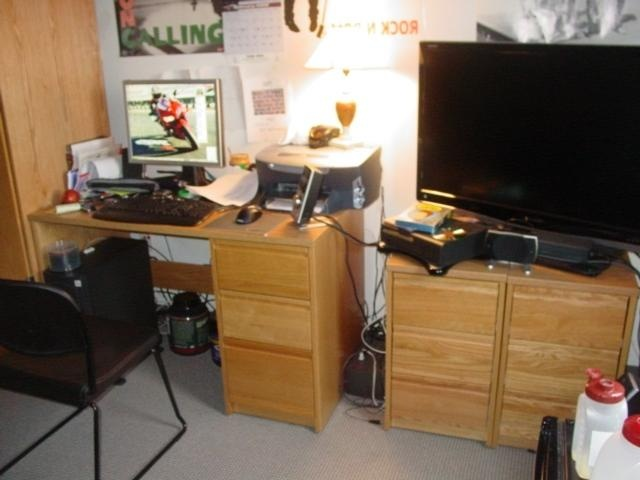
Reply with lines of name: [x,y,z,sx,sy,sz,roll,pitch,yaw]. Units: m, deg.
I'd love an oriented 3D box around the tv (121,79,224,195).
tv: [-0.732,-0.521,2.561,0.640,0.594,0.203,2,15,10]

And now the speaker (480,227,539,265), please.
speaker: [0.741,0.029,1.996,0.200,0.125,0.143,6,10,20]

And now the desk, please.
desk: [-0.462,0.422,2.743,1.970,1.121,0.969,4,14,17]

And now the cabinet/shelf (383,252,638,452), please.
cabinet/shelf: [0.755,0.405,2.004,0.819,0.638,0.303,5,19,15]

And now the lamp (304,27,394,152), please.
lamp: [0.144,-0.703,2.515,0.540,0.575,0.518,3,11,12]

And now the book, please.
book: [-1.161,-0.373,2.625,0.147,0.242,0.260,7,28,29]

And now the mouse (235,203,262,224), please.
mouse: [-0.314,-0.112,2.245,0.084,0.056,0.121,5,22,20]
